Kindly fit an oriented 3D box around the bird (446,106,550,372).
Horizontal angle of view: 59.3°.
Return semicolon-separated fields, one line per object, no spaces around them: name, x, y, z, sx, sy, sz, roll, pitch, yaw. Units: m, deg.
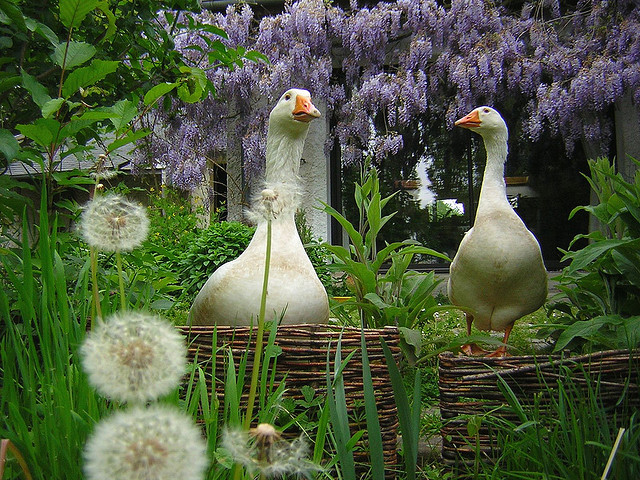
bird;0.833;-0.106;2.788;0.418;1.009;0.873;3;17;-1
